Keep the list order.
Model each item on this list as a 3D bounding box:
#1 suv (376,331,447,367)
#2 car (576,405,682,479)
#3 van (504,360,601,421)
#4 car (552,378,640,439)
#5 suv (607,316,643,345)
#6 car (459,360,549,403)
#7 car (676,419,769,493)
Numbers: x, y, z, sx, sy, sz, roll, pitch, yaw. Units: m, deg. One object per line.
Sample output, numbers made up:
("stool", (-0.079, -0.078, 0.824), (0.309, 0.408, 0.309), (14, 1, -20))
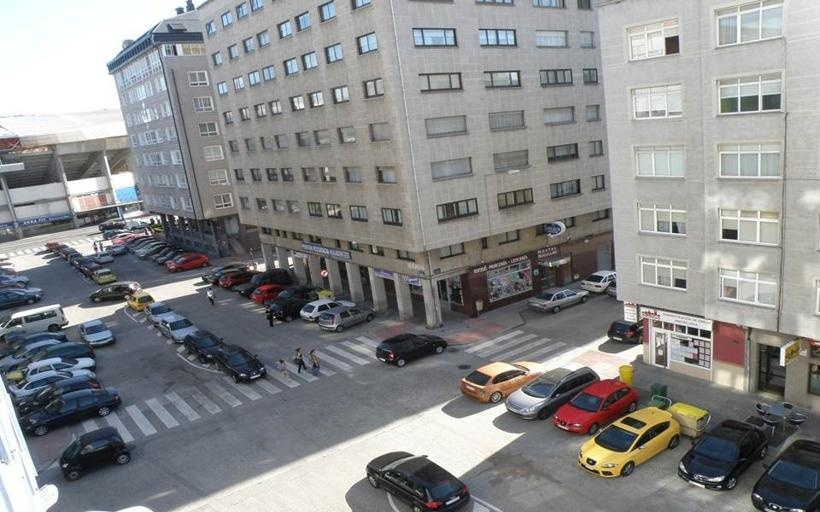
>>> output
("suv", (0.024, 7.370, 44.123), (4.907, 1.860, 1.789), (-13, 17, -24))
("car", (13.045, 10.690, 32.471), (6.872, 1.602, 2.827), (-14, 20, -32))
("van", (9.666, 8.962, 37.292), (7.146, 1.703, 2.946), (-12, 19, -34))
("car", (12.082, 9.378, 35.544), (6.340, 1.587, 2.687), (-16, 25, -35))
("suv", (17.092, 5.851, 43.017), (2.845, 0.872, 1.741), (-21, 22, -39))
("car", (6.742, 8.471, 39.111), (6.491, 1.455, 2.591), (-12, 20, -32))
("car", (17.923, 10.776, 31.083), (5.957, 1.669, 2.915), (-21, 23, -30))
